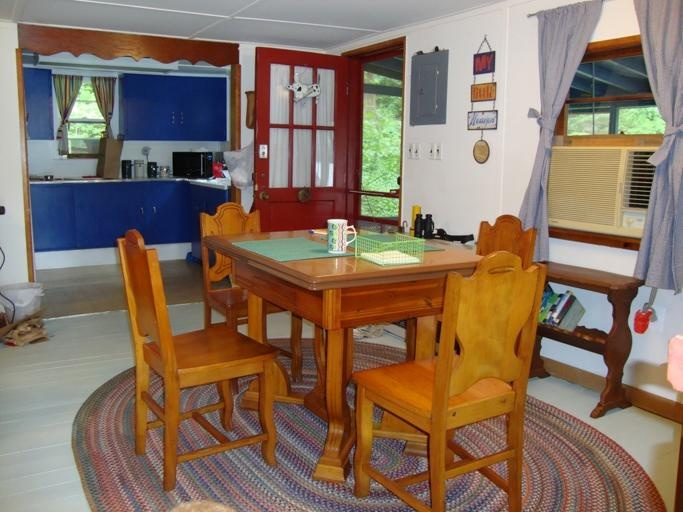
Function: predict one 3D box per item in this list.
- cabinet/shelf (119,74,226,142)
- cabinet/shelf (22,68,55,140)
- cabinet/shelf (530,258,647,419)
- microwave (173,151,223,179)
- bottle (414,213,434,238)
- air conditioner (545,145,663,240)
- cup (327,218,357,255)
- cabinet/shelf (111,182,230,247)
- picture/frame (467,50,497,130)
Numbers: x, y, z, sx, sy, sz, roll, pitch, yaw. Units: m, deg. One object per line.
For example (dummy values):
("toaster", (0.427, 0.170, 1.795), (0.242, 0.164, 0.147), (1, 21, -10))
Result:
("cabinet/shelf", (-2.639, -2.255, 7.528), (1.095, 0.684, 0.384), (-1, 7, -24))
("cabinet/shelf", (-4.193, -2.102, 6.883), (0.348, 0.969, 0.422), (-7, 16, -28))
("cabinet/shelf", (1.651, 0.544, 3.274), (0.401, 0.851, 0.889), (-2, 7, -25))
("microwave", (-2.245, -1.267, 7.544), (0.547, 0.350, 0.551), (-4, 9, -29))
("bottle", (0.634, -0.229, 4.016), (0.127, 0.230, 0.209), (0, -1, 44))
("air conditioner", (1.822, -0.474, 3.474), (0.280, 0.603, 0.685), (-22, 25, -40))
("cup", (0.017, -0.103, 2.749), (0.219, 0.230, 0.143), (-1, 5, -26))
("cabinet/shelf", (-2.360, -0.566, 6.744), (1.157, 0.767, 1.157), (-5, 10, -32))
("picture/frame", (1.174, -1.349, 4.080), (0.068, 0.636, 0.315), (-6, 15, -25))
